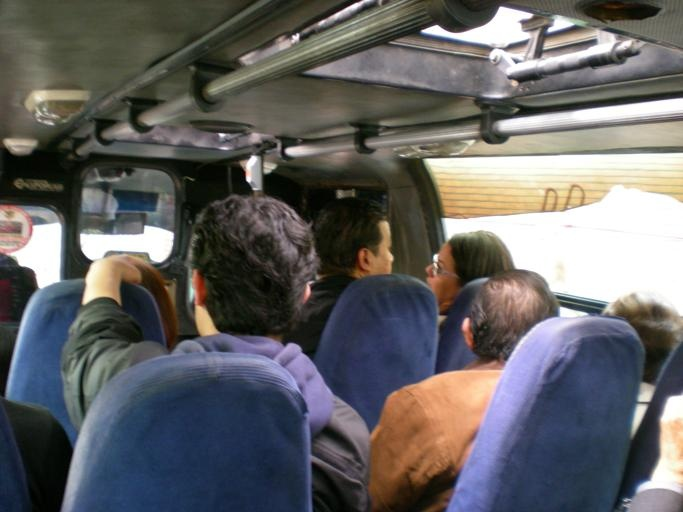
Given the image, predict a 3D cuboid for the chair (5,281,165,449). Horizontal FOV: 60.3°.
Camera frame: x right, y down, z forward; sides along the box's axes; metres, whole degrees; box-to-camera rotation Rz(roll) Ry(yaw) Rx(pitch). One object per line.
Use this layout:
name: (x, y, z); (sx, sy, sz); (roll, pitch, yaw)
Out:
chair: (-0.847, 0.381, 2.316); (0.613, 0.784, 0.710); (3, -17, -16)

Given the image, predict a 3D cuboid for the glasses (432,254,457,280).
glasses: (0.681, 0.087, 3.882); (0.153, 0.042, 0.141); (5, 25, -10)
